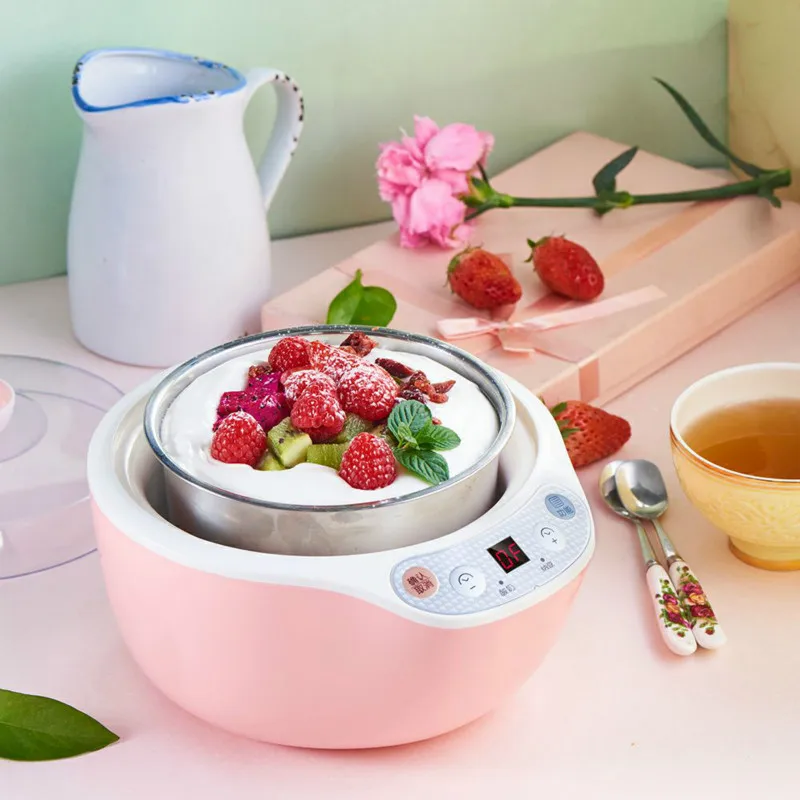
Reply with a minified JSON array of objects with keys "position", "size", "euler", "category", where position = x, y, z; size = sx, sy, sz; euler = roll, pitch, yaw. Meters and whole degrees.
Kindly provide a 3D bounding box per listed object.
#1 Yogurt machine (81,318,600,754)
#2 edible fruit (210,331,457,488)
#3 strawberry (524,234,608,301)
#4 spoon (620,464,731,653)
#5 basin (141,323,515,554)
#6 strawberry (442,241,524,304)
[{"position":[-0.071,0.087,0.500],"size":[0.310,0.112,0.255],"euler":[13,30,24],"category":"Yogurt machine"},{"position":[-0.037,0.010,0.485],"size":[0.122,0.028,0.104],"euler":[10,30,13],"category":"edible fruit"},{"position":[0.179,-0.139,0.866],"size":[0.097,0.050,0.059],"euler":[27,13,25],"category":"strawberry"},{"position":[0.206,0.116,0.620],"size":[0.034,0.018,0.138],"euler":[-8,34,-4],"category":"spoon"},{"position":[-0.039,0.027,0.467],"size":[0.196,0.036,0.160],"euler":[0,27,-1],"category":"basin"},{"position":[0.097,-0.132,0.876],"size":[0.070,0.049,0.085],"euler":[-22,39,-13],"category":"strawberry"}]
